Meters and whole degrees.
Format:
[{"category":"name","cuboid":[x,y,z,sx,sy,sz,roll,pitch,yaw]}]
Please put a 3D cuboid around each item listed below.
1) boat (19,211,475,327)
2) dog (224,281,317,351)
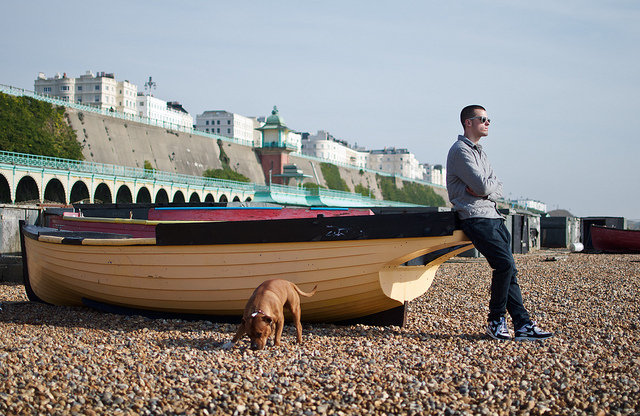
[{"category":"boat","cuboid":[-1.636,0.950,13.755,7.895,2.411,2.782,-1,-3,27]},{"category":"dog","cuboid":[-0.781,1.623,12.239,1.125,1.019,0.524,1,1,-27]}]
